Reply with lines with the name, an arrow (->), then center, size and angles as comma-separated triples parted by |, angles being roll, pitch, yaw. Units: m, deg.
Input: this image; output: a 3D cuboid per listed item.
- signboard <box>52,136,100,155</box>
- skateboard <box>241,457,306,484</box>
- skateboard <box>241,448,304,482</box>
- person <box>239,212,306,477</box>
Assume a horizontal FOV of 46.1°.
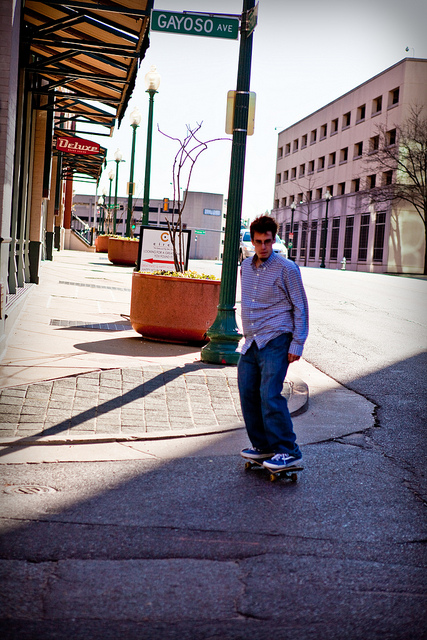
signboard -> -5.289, -6.613, 19.031 | 1.248, 0.691, 2.062 | 0, 10, -41
skateboard -> 0.461, 1.074, 3.673 | 0.162, 0.111, 0.592 | -3, -3, -20
skateboard -> 0.451, 1.067, 3.679 | 0.160, 0.098, 0.581 | -1, 0, -23
person -> 0.438, 0.174, 3.782 | 0.370, 1.867, 0.700 | 3, 8, -26
